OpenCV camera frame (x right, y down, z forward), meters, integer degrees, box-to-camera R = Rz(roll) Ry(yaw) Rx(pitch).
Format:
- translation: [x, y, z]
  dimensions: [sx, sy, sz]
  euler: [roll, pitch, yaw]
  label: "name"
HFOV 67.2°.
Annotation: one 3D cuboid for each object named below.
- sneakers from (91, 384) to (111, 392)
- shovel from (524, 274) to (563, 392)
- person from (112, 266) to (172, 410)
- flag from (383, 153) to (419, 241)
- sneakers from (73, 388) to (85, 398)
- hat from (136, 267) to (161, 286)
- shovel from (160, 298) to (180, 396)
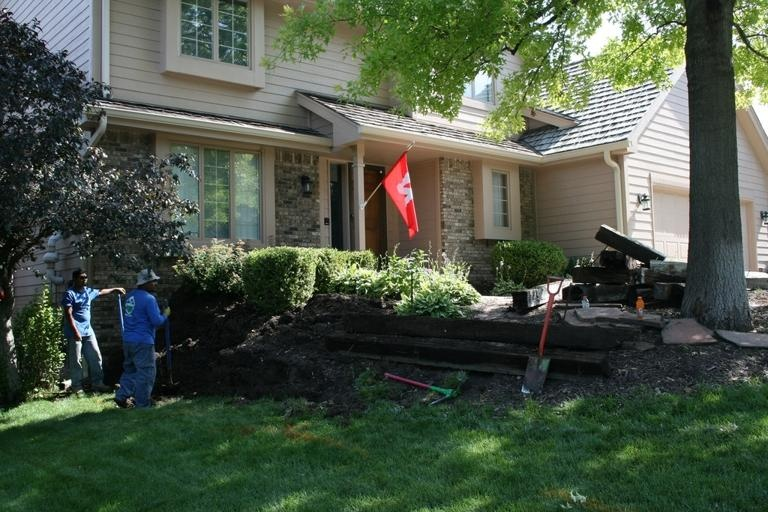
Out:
- translation: [-5.293, 2.461, 10.795]
  dimensions: [0.427, 0.182, 0.146]
  euler: [0, -3, 6]
  label: "sneakers"
- translation: [2.248, 1.115, 8.231]
  dimensions: [0.361, 1.777, 0.116]
  euler: [12, -2, -19]
  label: "shovel"
- translation: [-4.072, 1.355, 9.644]
  dimensions: [0.734, 2.281, 0.962]
  euler: [2, -2, -25]
  label: "person"
- translation: [0.300, -1.321, 11.818]
  dimensions: [0.696, 1.859, 1.480]
  euler: [1, -2, -1]
  label: "flag"
- translation: [-5.542, 2.501, 10.465]
  dimensions: [0.195, 0.080, 0.140]
  euler: [8, -7, -25]
  label: "sneakers"
- translation: [-4.157, 0.393, 9.912]
  dimensions: [0.349, 0.182, 0.336]
  euler: [-11, 4, 14]
  label: "hat"
- translation: [-3.843, 1.582, 10.190]
  dimensions: [0.290, 1.423, 0.303]
  euler: [-8, -6, 43]
  label: "shovel"
